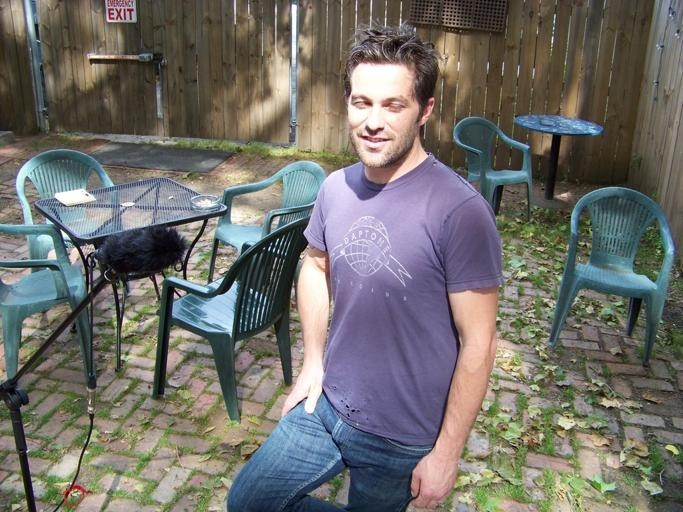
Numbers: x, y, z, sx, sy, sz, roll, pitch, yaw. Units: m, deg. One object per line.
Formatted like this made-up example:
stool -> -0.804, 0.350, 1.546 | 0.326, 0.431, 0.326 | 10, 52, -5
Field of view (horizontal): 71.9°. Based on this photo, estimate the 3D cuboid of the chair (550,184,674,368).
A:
chair -> 2.490, 0.148, 4.346 | 0.826, 1.405, 0.717 | 11, 22, 28
